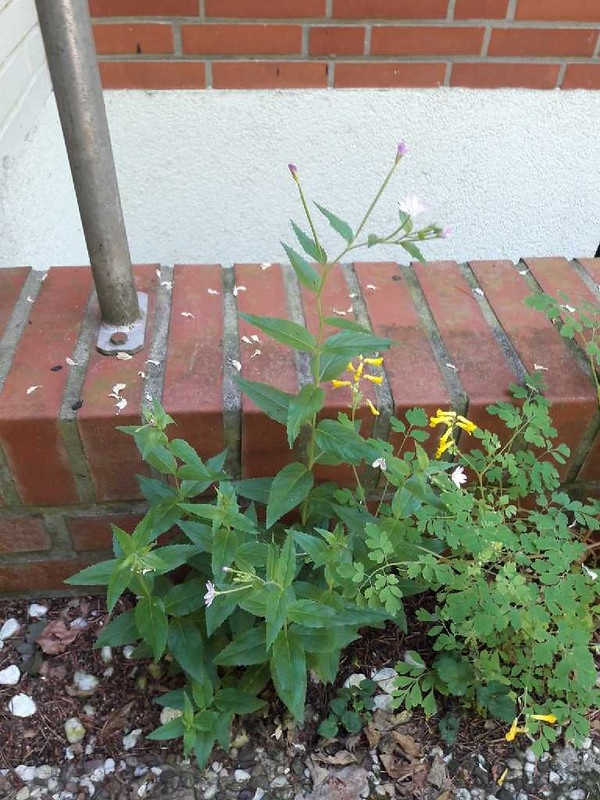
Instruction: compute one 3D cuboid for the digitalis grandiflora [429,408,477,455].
[{"bbox_3d":[0.326,0.064,1.421,0.067,0.072,0.069,25,51,12],"label":"digitalis grandiflora"}]
